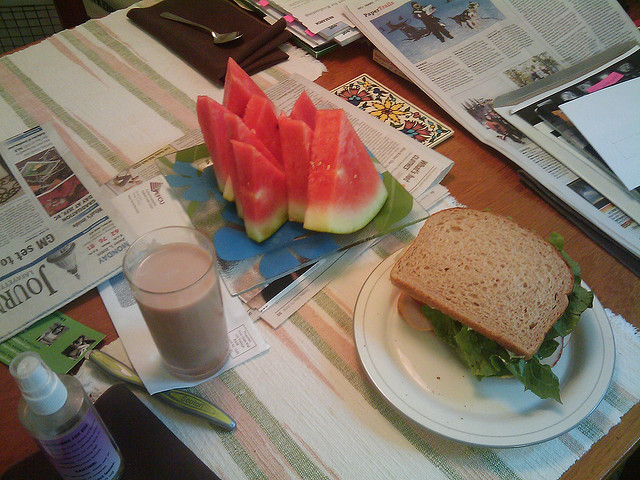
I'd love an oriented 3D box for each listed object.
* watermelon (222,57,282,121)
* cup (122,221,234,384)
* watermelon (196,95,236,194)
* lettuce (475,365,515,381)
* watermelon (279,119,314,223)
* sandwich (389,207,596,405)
[{"bbox_3d":[-0.132,-0.259,0.871,0.097,0.136,0.061,6,2,-27],"label":"watermelon"},{"bbox_3d":[-0.193,0.097,0.633,0.146,0.234,0.148,-3,49,3],"label":"cup"},{"bbox_3d":[-0.183,-0.154,0.826,0.092,0.187,0.063,4,27,-5],"label":"watermelon"},{"bbox_3d":[0.244,0.181,0.641,0.035,0.014,0.025,-19,-10,19],"label":"lettuce"},{"bbox_3d":[-0.039,-0.112,0.766,0.067,0.211,0.097,1,24,2],"label":"watermelon"},{"bbox_3d":[0.233,0.107,0.765,0.304,0.244,0.240,9,43,4],"label":"sandwich"}]
